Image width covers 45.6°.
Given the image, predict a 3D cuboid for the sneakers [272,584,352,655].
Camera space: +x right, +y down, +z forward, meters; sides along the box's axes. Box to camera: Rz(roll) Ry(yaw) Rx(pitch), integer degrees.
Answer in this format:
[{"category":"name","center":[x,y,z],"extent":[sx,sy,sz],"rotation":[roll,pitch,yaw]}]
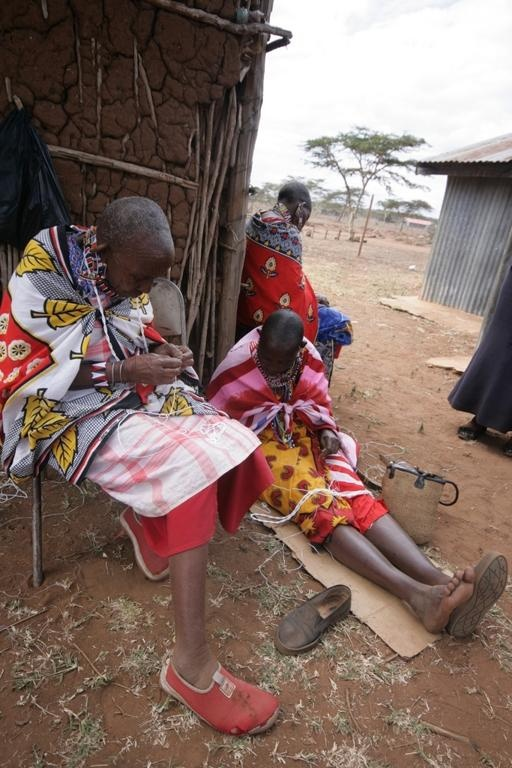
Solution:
[{"category":"sneakers","center":[0.219,0.886,2.328],"extent":[0.154,0.109,0.385],"rotation":[31,34,33]}]

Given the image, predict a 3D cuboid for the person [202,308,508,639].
[{"category":"person","center":[0.371,0.336,2.837],"extent":[0.863,0.921,1.717],"rotation":[-23,48,-35]}]

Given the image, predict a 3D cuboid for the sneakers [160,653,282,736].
[{"category":"sneakers","center":[-0.097,0.978,1.944],"extent":[0.390,0.141,0.177],"rotation":[13,18,19]}]
